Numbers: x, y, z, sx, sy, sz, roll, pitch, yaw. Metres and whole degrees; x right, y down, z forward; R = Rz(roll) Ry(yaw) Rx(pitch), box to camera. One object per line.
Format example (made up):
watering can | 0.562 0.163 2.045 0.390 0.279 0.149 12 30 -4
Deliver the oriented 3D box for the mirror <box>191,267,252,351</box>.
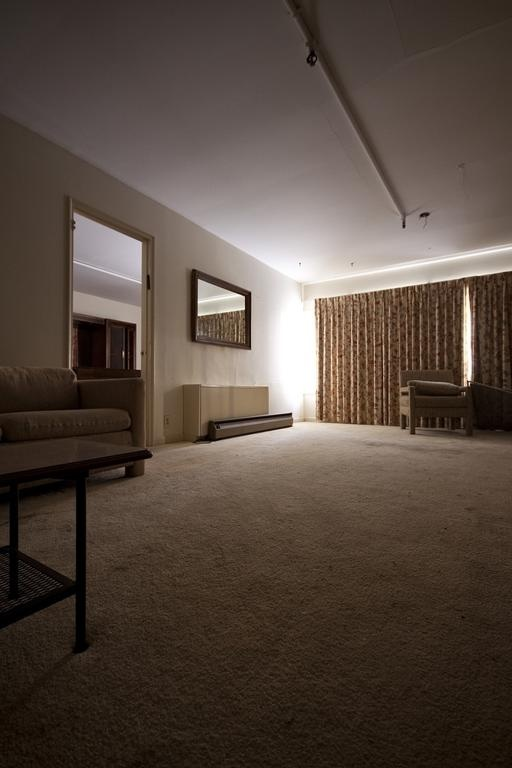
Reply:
mirror | -0.327 -0.712 4.937 0.060 0.657 1.199 0 2 24
